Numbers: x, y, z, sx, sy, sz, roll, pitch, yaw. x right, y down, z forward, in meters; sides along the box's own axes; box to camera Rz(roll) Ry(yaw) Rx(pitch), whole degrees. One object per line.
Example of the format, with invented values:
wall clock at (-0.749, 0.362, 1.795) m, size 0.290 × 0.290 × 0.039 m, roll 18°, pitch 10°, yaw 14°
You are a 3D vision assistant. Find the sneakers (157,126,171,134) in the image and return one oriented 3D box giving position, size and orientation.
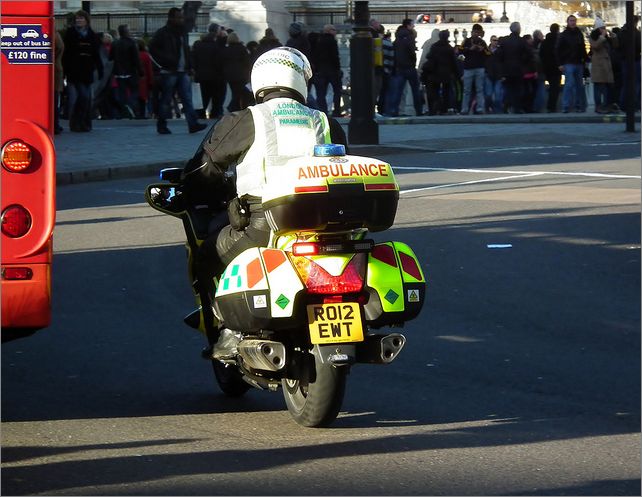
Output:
sneakers at (-3.154, -2.366, 20.390) m, size 0.357 × 0.186 × 0.095 m, roll -2°, pitch 37°, yaw -7°

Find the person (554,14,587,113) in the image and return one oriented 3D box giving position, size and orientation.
person at (6.505, -4.780, 26.500) m, size 0.773 × 2.513 × 1.312 m, roll 2°, pitch 13°, yaw 13°

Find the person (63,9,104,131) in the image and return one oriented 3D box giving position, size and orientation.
person at (-4.656, -3.454, 19.914) m, size 0.720 × 2.376 × 1.185 m, roll -4°, pitch 13°, yaw -11°

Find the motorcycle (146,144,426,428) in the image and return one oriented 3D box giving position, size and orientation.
motorcycle at (-0.292, 0.196, 5.854) m, size 0.912 × 1.643 × 1.737 m, roll -12°, pitch 16°, yaw -38°
